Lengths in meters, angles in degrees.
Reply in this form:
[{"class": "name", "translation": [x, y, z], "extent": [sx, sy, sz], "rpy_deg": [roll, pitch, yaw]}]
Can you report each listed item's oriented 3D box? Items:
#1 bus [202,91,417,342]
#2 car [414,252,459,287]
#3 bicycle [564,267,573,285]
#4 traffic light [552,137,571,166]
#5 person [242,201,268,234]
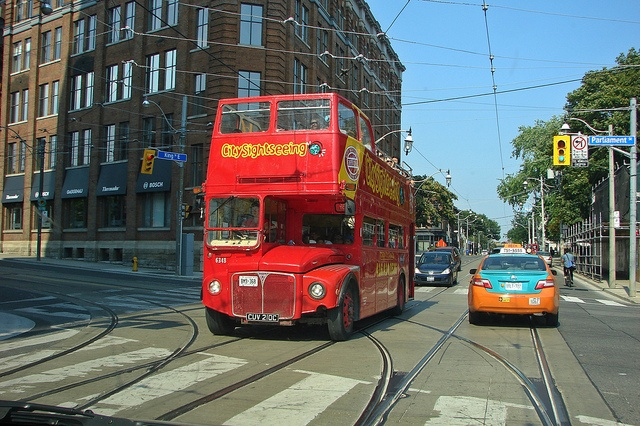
[{"class": "bus", "translation": [-0.406, 0.366, 16.500], "extent": [2.908, 3.975, 7.783], "rpy_deg": [-2, -4, 18]}, {"class": "car", "translation": [6.017, 2.992, 31.320], "extent": [1.963, 1.677, 2.276], "rpy_deg": [2, 4, 15]}, {"class": "bicycle", "translation": [13.489, 3.444, 32.557], "extent": [0.392, 1.119, 0.612], "rpy_deg": [2, 4, 18]}, {"class": "traffic light", "translation": [11.544, -2.986, 28.510], "extent": [0.596, 1.377, 1.229], "rpy_deg": [5, 5, 44]}, {"class": "person", "translation": [-1.586, 0.149, 16.011], "extent": [0.554, 0.787, 0.262], "rpy_deg": [-1, 2, 28]}]
